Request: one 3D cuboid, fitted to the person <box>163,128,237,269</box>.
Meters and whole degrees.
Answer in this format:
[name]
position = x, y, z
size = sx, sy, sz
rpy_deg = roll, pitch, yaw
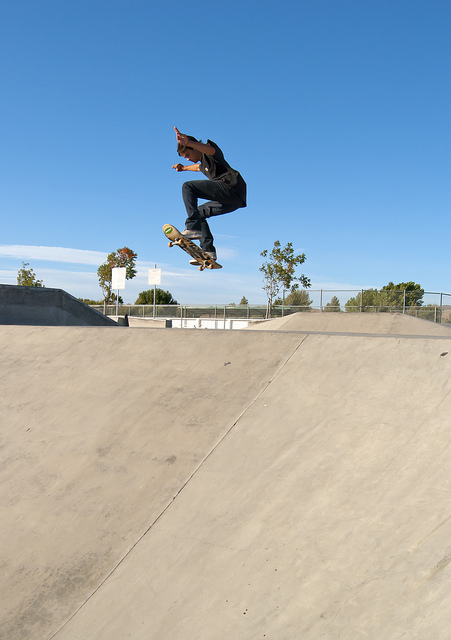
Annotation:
[person]
position = -0.197, -1.372, 5.344
size = 0.653, 1.473, 1.421
rpy_deg = -2, -6, 2
